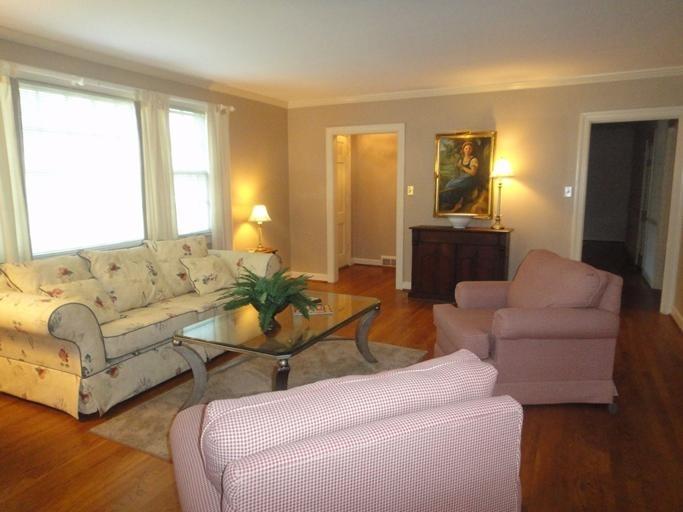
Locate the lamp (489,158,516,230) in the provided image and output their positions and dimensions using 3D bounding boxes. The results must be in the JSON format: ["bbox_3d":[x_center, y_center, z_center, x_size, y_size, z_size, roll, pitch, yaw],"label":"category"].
[{"bbox_3d":[1.893,-0.735,5.979,0.236,0.811,0.434,1,14,17],"label":"lamp"}]

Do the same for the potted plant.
[{"bbox_3d":[-0.544,0.366,3.771,0.705,0.459,0.749,3,5,28],"label":"potted plant"}]

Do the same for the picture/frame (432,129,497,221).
[{"bbox_3d":[1.505,-0.991,6.231,0.732,1.034,0.244,0,14,14],"label":"picture/frame"}]

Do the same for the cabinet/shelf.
[{"bbox_3d":[1.474,0.110,6.238,1.170,0.920,0.419,7,14,32],"label":"cabinet/shelf"}]

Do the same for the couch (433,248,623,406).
[{"bbox_3d":[1.353,0.495,3.956,1.128,0.888,1.087,-3,11,-6],"label":"couch"}]

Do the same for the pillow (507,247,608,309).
[{"bbox_3d":[1.601,0.179,3.919,0.999,0.274,0.985,6,2,-43],"label":"pillow"}]

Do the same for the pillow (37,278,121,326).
[{"bbox_3d":[-1.966,0.460,3.869,0.504,0.113,0.496,7,-29,-13],"label":"pillow"}]
